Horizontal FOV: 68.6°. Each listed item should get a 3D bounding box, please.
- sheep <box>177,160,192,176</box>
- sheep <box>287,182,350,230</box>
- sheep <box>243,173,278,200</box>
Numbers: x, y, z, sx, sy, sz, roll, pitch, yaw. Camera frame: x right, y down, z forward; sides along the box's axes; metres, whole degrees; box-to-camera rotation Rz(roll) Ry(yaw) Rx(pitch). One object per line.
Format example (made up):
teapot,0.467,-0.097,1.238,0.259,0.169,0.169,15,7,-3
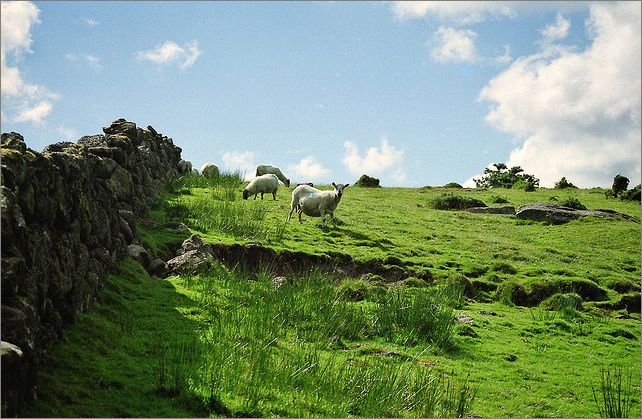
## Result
sheep,-8.108,-2.520,28.009,0.815,0.719,1.963,6,10,-18
sheep,-0.086,-0.211,19.836,2.731,1.862,1.202,5,2,33
sheep,-3.165,-1.095,24.614,0.870,1.381,2.569,12,19,38
